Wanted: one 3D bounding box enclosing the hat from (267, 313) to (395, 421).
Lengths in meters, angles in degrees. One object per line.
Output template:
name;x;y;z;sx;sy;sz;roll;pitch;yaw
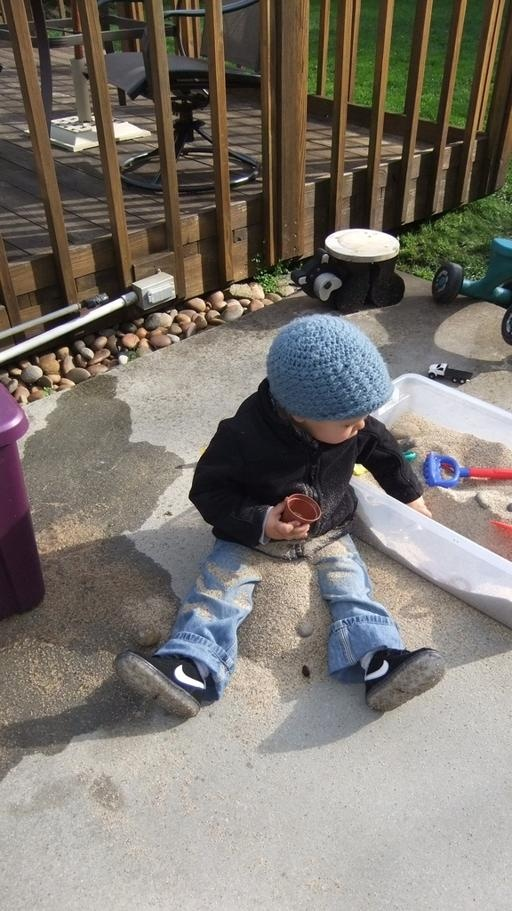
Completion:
hat;0.141;-0.147;1.393;0.219;0.137;0.200;32;61;22

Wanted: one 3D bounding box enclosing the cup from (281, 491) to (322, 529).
cup;0.098;0.118;1.494;0.071;0.051;0.071;16;49;-20

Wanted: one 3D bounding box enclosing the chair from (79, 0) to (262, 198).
chair;-0.338;-1.818;3.419;0.810;0.813;1.581;-10;33;-8

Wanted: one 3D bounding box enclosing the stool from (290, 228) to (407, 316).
stool;0.421;-0.784;3.013;0.468;0.235;0.287;-9;27;-7

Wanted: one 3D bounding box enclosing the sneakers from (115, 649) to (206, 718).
sneakers;-0.191;0.466;1.400;0.145;0.065;0.096;40;29;-8

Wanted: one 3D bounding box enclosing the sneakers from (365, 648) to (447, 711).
sneakers;0.299;0.456;1.401;0.061;0.143;0.092;41;15;-19

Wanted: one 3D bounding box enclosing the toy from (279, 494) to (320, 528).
toy;0.093;0.116;1.476;0.069;0.048;0.068;6;53;-29
